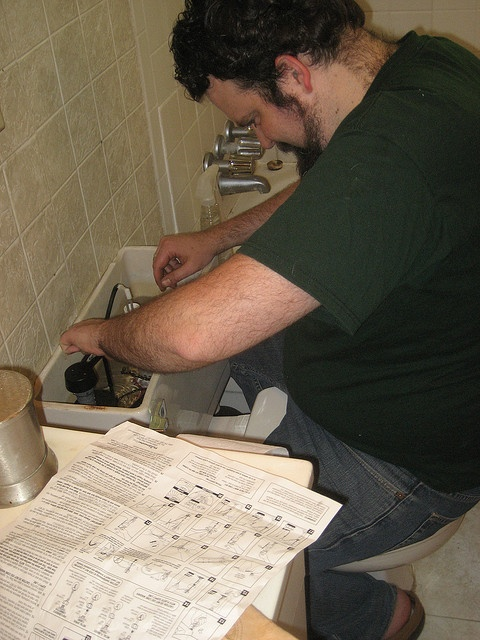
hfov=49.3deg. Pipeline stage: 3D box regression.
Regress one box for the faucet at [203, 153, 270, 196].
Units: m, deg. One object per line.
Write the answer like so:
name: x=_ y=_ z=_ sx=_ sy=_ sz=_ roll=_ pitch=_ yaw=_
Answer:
faucet: x=-0.010 y=-0.536 z=1.783 sx=0.179 sy=0.121 sz=0.214 roll=4 pitch=35 yaw=5

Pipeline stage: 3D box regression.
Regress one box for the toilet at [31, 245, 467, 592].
toilet: x=-0.045 y=0.152 z=1.216 sx=0.916 sy=0.586 sz=0.665 roll=8 pitch=54 yaw=12
